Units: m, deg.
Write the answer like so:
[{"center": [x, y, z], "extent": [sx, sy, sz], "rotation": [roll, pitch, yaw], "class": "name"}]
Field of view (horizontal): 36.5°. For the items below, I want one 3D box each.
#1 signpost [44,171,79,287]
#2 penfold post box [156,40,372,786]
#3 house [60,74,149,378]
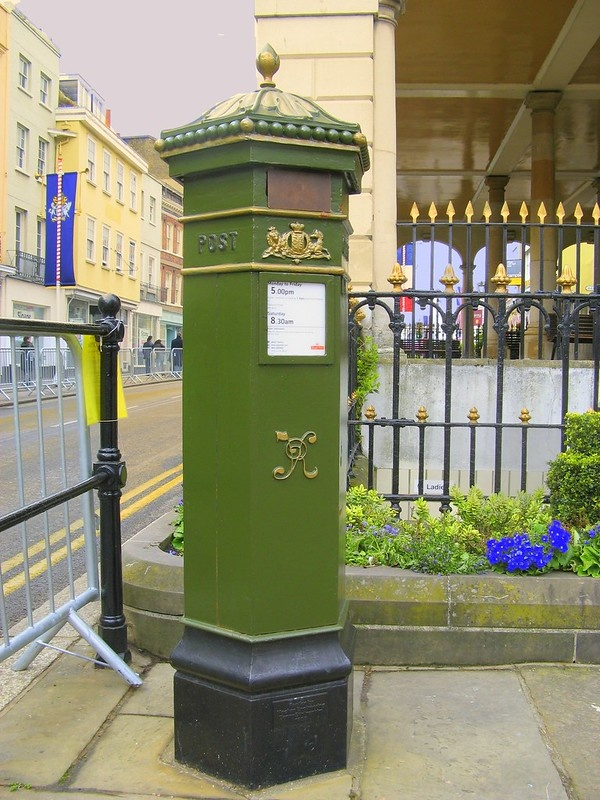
[{"center": [-7.152, -5.095, 27.055], "extent": [1.326, 3.607, 0.157], "rotation": [-1, -6, 8], "class": "signpost"}, {"center": [-0.105, 0.088, 2.883], "extent": [0.655, 2.175, 0.429], "rotation": [-1, 6, -10], "class": "penfold post box"}, {"center": [-7.790, -6.381, 36.420], "extent": [1.838, 9.002, 10.662], "rotation": [0, 6, -3], "class": "house"}]
